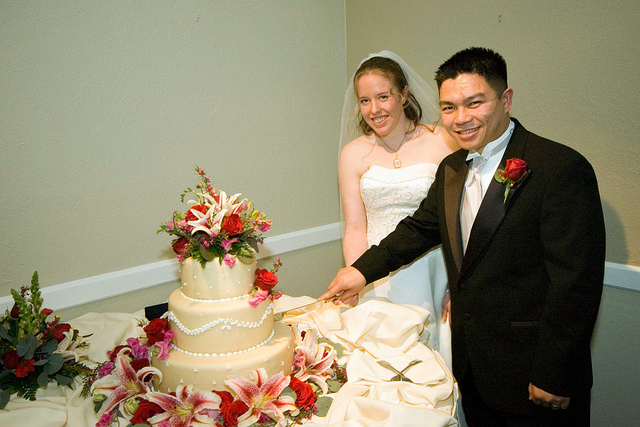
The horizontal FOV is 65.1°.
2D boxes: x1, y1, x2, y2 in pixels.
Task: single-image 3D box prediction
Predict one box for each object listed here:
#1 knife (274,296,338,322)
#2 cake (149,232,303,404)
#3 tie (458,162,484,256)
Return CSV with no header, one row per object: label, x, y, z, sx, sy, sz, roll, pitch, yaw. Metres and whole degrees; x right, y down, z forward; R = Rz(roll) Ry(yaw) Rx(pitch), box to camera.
knife,-0.055,0.680,3.533,0.501,0.074,0.102,-17,27,-17
cake,-0.609,0.651,3.255,0.910,0.939,0.890,-4,9,-6
tie,1.019,-0.050,3.359,0.129,0.665,0.097,9,-9,43
